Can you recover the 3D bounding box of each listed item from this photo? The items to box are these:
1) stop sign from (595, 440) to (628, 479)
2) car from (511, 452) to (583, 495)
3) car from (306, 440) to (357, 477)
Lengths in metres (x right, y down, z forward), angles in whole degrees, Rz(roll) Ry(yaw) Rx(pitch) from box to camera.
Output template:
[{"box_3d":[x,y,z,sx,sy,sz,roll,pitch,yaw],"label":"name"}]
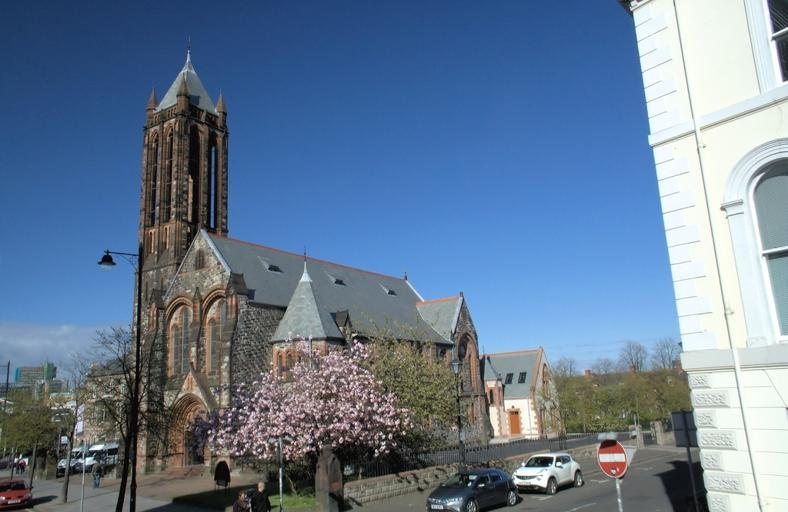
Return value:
[{"box_3d":[6.603,6.104,19.086,0.805,1.150,1.163,-11,-16,16],"label":"stop sign"},{"box_3d":[7.611,10.828,31.626,3.259,1.769,1.523,5,-19,-36],"label":"car"},{"box_3d":[-2.986,9.838,30.871,2.343,1.917,1.957,0,-17,-21],"label":"car"}]
